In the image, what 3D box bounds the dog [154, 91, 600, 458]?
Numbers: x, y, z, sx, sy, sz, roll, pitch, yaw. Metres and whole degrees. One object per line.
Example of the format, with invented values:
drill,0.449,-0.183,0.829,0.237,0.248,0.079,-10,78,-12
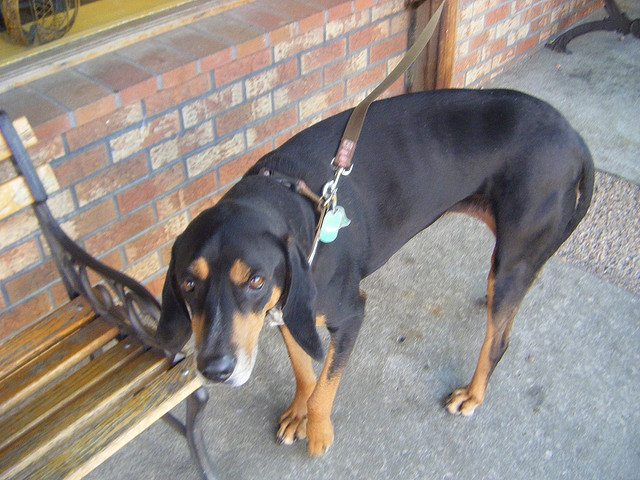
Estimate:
dog,0.369,0.132,2.357,1.904,1.347,0.696,-26,40,-18
